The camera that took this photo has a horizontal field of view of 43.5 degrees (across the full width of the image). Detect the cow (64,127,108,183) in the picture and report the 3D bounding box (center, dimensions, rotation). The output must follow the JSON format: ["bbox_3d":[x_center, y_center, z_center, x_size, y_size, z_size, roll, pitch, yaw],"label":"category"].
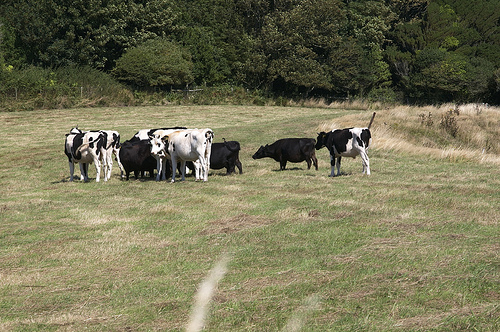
[{"bbox_3d":[-8.645,-0.479,32.610,1.277,2.881,4.510,-3,-2,-41],"label":"cow"}]

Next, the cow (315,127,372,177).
[{"bbox_3d":[4.635,-0.707,32.072,3.402,2.443,1.161,-2,-1,44],"label":"cow"}]

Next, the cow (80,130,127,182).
[{"bbox_3d":[-8.696,-0.444,33.446,4.089,2.674,1.130,-6,-5,42],"label":"cow"}]
